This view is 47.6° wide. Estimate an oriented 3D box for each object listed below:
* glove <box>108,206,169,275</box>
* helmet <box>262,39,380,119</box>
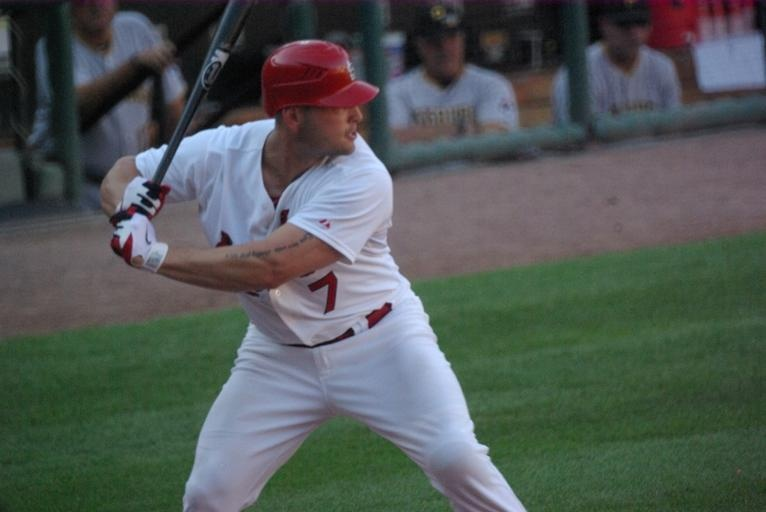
[{"bbox_3d":[-1.289,-0.079,4.630,0.305,0.338,0.187,-6,8,-2],"label":"glove"},{"bbox_3d":[-0.337,-0.952,4.700,0.531,0.277,0.370,0,22,10],"label":"helmet"}]
